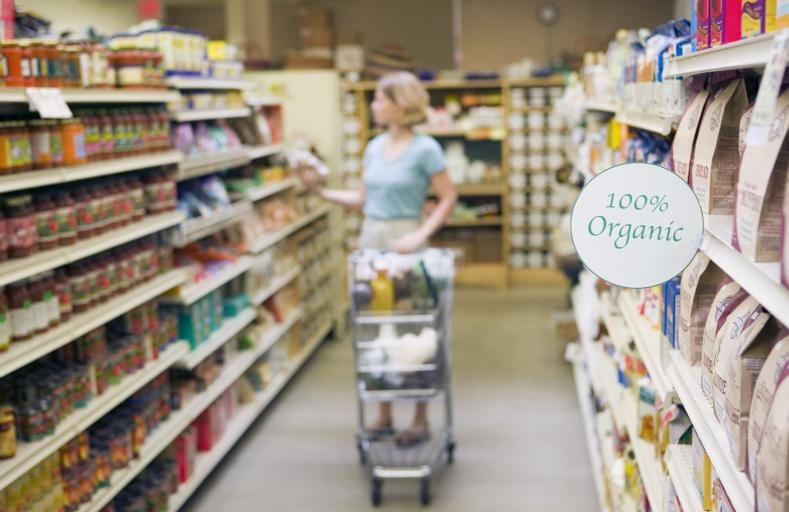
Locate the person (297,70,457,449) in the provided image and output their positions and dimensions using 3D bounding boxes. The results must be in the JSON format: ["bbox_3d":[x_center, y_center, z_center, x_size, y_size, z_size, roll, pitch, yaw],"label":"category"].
[{"bbox_3d":[-0.037,0.040,2.965,0.619,1.814,0.400,13,22,39],"label":"person"}]
